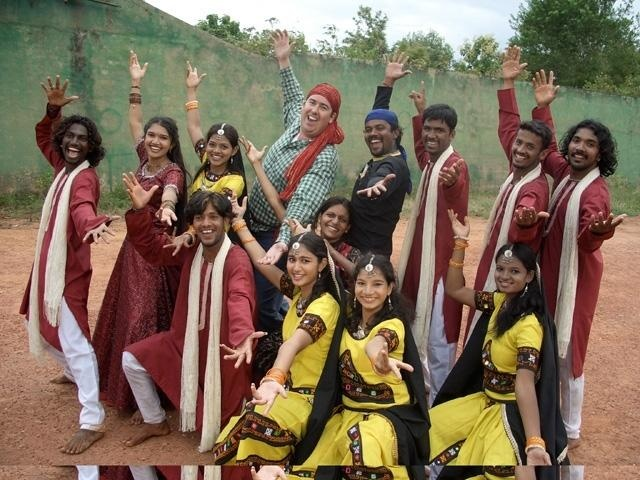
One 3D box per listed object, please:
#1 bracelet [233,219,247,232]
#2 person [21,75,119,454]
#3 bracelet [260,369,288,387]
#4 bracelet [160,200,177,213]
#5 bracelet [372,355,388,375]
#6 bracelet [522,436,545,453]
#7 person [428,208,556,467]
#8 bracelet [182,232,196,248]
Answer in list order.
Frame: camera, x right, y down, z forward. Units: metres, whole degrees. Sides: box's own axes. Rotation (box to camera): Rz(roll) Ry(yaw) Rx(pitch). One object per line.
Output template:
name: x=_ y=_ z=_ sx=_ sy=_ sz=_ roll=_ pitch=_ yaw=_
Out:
bracelet: x=-0.686 y=-0.121 z=5.347 sx=0.100 sy=0.070 sz=0.103 roll=-10 pitch=-23 yaw=-3
person: x=-2.162 y=0.122 z=5.455 sx=0.696 sy=3.040 sz=1.410 roll=-4 pitch=12 yaw=-33
bracelet: x=-0.303 y=0.951 z=4.346 sx=0.143 sy=0.072 sz=0.123 roll=-2 pitch=-16 yaw=5
bracelet: x=-1.289 y=-0.280 z=5.405 sx=0.106 sy=0.102 sz=0.097 roll=0 pitch=-3 yaw=-16
bracelet: x=0.408 y=0.845 z=4.289 sx=0.101 sy=0.088 sz=0.123 roll=23 pitch=-14 yaw=31
bracelet: x=1.524 y=1.445 z=4.484 sx=0.112 sy=0.125 sz=0.083 roll=-2 pitch=41 yaw=6
person: x=1.360 y=0.833 z=4.817 sx=0.945 sy=1.652 sz=0.936 roll=6 pitch=10 yaw=18
bracelet: x=-1.087 y=0.000 z=5.282 sx=0.099 sy=0.106 sz=0.042 roll=-5 pitch=-8 yaw=-22
